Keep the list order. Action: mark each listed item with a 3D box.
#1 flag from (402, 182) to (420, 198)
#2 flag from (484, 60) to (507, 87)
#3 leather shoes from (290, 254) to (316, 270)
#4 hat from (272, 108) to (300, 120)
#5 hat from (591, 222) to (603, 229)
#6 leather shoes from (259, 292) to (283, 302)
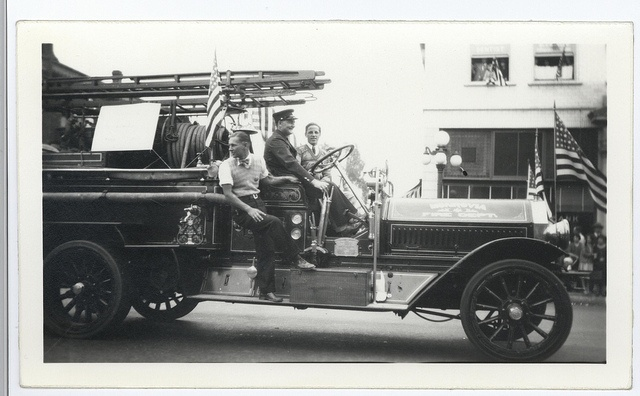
[{"bbox_3d":[1.100,-0.069,11.715,0.221,0.231,0.026,4,34,3],"label":"flag"},{"bbox_3d":[2.242,-1.575,12.812,0.369,0.376,0.055,1,-3,-29],"label":"flag"},{"bbox_3d":[-0.219,0.839,12.757,0.336,0.126,0.149,3,6,17],"label":"leather shoes"},{"bbox_3d":[-0.458,-1.048,12.917,0.394,0.111,0.104,2,-2,39],"label":"hat"},{"bbox_3d":[3.594,0.362,12.874,0.049,0.090,0.137,4,-2,-33],"label":"hat"},{"bbox_3d":[-0.621,1.270,12.732,0.267,0.103,0.118,0,-3,4],"label":"leather shoes"}]
